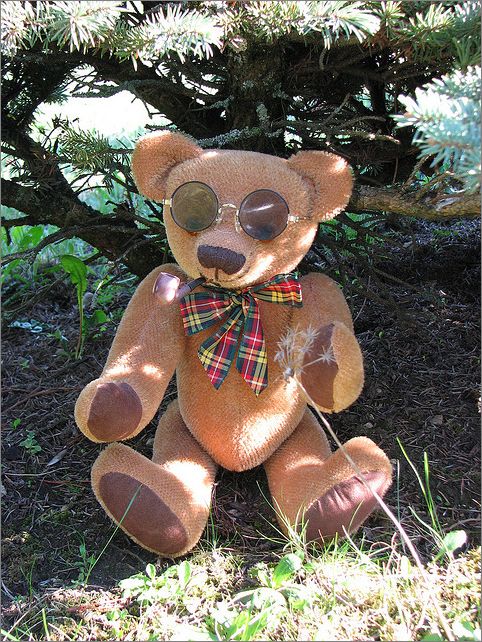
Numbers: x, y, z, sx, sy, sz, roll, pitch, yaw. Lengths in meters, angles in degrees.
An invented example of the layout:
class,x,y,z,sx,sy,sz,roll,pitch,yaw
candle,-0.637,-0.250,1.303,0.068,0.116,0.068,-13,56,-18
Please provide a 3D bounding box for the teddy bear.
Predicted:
class,x,y,z,sx,sy,sz,roll,pitch,yaw
teddy bear,-0.012,0.046,1.318,0.866,0.860,0.661,1,21,24
